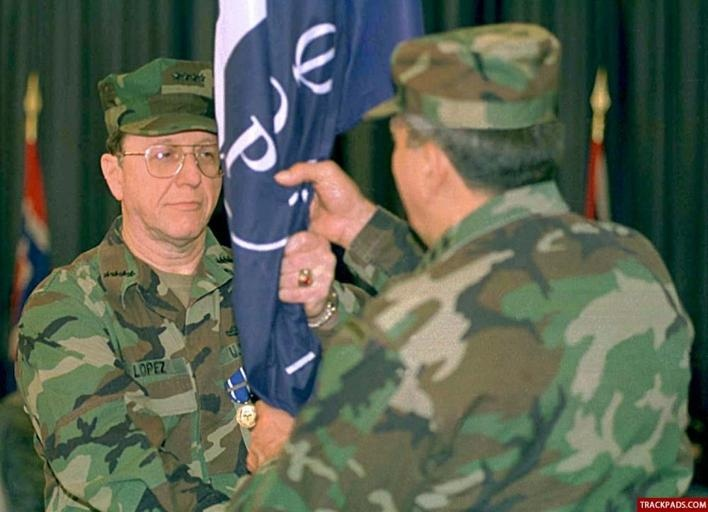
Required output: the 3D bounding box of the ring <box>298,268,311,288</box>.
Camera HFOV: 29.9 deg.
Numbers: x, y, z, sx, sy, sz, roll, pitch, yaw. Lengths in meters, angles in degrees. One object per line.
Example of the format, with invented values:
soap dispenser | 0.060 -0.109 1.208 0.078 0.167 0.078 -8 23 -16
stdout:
ring | -0.161 0.070 4.358 0.049 0.054 0.018 -1 16 -21
